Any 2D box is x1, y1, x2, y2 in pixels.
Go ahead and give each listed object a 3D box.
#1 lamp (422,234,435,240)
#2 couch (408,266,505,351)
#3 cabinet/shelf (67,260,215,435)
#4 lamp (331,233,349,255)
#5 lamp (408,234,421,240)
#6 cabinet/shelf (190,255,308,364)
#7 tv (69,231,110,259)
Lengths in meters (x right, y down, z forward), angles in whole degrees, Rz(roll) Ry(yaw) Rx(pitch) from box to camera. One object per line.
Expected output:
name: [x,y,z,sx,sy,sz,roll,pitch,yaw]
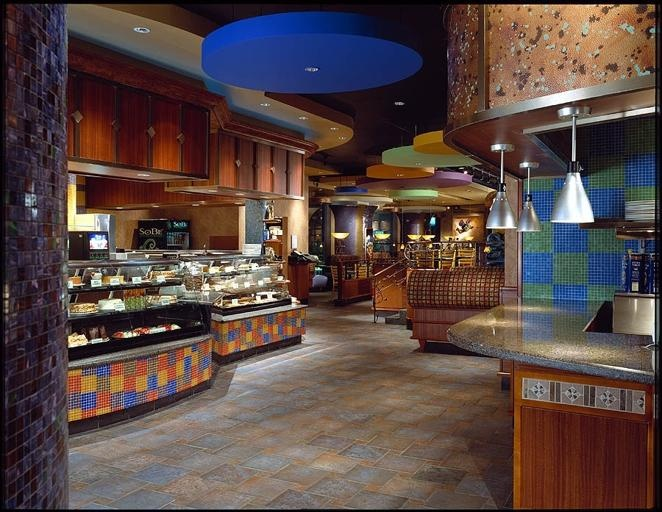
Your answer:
lamp: [5.636,-1.068,26.572,0.687,0.182,0.592,-1,0,0]
couch: [2.029,0.903,7.682,1.511,1.418,0.387,1,3,27]
cabinet/shelf: [-2.130,0.853,4.986,0.598,1.587,1.607,2,2,32]
lamp: [0.443,-0.541,20.355,1.087,0.961,0.942,0,-3,3]
lamp: [4.973,-1.133,27.556,0.497,0.153,0.510,-1,-1,42]
cabinet/shelf: [-1.712,0.789,7.734,1.734,1.372,2.186,6,3,35]
tv: [-3.034,-0.140,5.810,0.244,0.333,0.441,0,0,33]
